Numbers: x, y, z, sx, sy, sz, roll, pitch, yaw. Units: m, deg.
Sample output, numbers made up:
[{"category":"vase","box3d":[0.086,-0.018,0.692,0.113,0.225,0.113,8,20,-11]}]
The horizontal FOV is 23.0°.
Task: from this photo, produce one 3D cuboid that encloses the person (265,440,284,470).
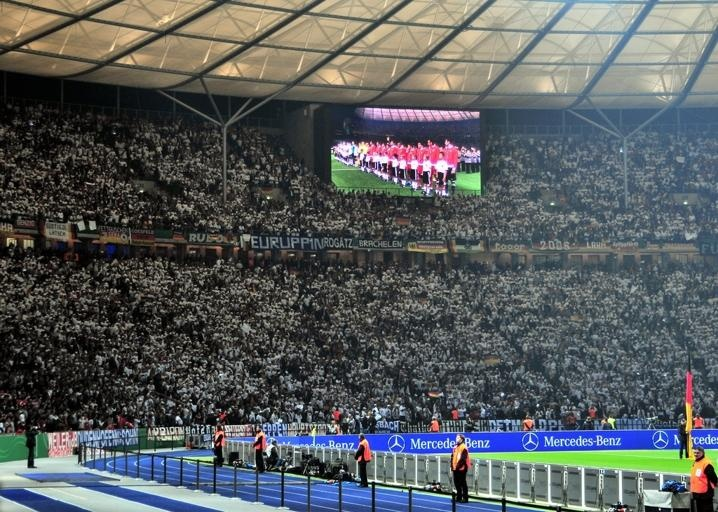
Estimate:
[{"category":"person","box3d":[-5.215,12.028,105.843,0.961,1.778,1.486,3,-7,-4]}]
